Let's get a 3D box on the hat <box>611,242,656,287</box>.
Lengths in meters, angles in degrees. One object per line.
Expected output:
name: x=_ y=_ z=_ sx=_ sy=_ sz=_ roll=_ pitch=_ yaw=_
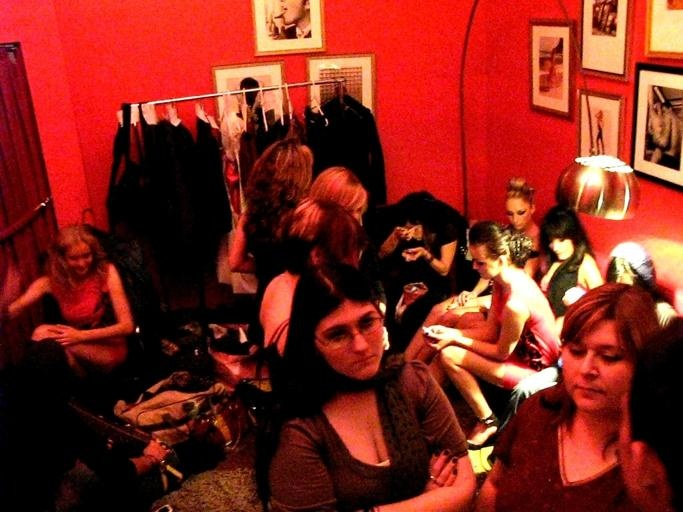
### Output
hat: x=1.546 y=0.029 z=2.960 sx=0.153 sy=0.142 sz=0.186 roll=-11 pitch=-15 yaw=39

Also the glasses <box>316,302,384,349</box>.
glasses: x=0.030 y=0.214 z=1.781 sx=0.228 sy=0.156 sz=0.085 roll=-7 pitch=17 yaw=-8

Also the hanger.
hanger: x=-0.768 y=-1.022 z=3.765 sx=1.414 sy=0.208 sz=0.695 roll=-9 pitch=17 yaw=-16
